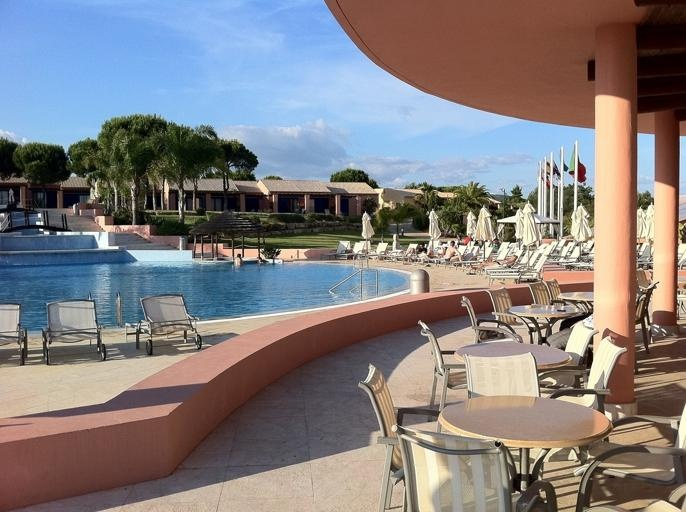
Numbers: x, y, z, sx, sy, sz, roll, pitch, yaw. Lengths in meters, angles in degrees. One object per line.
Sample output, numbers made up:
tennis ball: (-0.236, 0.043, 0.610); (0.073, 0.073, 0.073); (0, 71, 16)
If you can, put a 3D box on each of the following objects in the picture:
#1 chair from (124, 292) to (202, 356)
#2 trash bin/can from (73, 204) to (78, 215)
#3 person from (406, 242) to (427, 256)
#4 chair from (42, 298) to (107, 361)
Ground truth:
chair: (-3.017, 1.092, 9.329); (0.799, 0.831, 1.394); (-1, -1, -33)
trash bin/can: (-23.733, -4.085, 49.499); (0.391, 0.846, 1.432); (-3, 5, -35)
person: (4.276, -0.377, 32.643); (1.232, 0.597, 1.866); (-1, -2, 8)
chair: (-4.214, 1.132, 8.685); (0.710, 0.729, 1.244); (-1, -2, -27)
